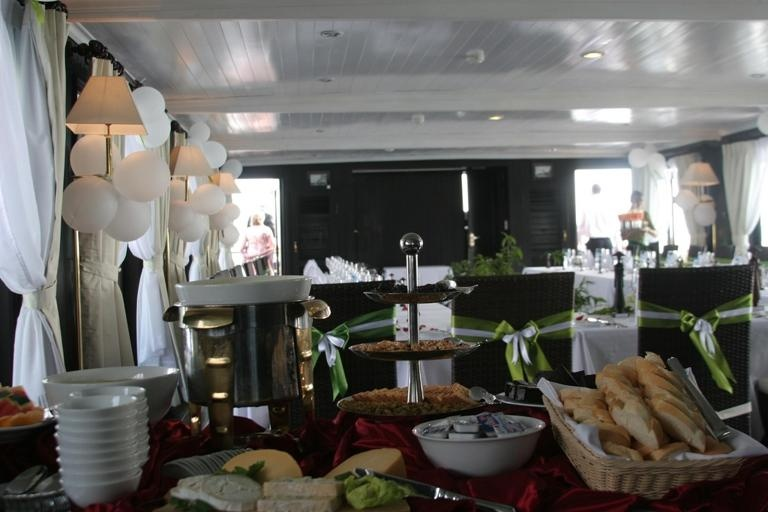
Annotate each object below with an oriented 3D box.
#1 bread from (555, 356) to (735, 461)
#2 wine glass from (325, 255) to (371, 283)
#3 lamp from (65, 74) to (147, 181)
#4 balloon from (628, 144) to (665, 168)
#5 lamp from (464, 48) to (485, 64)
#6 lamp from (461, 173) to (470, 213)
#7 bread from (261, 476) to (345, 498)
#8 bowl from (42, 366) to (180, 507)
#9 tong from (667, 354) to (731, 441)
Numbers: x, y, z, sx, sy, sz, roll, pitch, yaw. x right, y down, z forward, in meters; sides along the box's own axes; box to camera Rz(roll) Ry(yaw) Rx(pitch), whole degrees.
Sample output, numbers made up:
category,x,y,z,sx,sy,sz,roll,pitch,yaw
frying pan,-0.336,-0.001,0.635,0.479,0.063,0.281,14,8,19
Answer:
category,x,y,z,sx,sy,sz,roll,pitch,yaw
bread,0.466,0.279,0.997,0.180,0.058,0.192,-9,35,-4
wine glass,-0.272,0.115,4.043,0.292,0.124,0.282,2,5,13
lamp,-1.463,-0.662,2.958,0.459,0.547,0.454,4,6,6
balloon,3.529,-1.321,7.432,0.409,0.268,0.289,-4,1,28
lamp,0.851,-1.880,5.203,0.130,0.075,0.125,0,-1,-25
lamp,1.631,-1.273,11.077,0.178,0.792,0.060,-5,1,-16
bread,-0.130,0.368,0.878,0.128,0.030,0.045,-4,1,0
bowl,-0.504,0.311,1.000,0.200,0.188,0.215,-2,-3,0
tong,0.598,0.271,1.055,0.031,0.162,0.014,-34,-1,1
